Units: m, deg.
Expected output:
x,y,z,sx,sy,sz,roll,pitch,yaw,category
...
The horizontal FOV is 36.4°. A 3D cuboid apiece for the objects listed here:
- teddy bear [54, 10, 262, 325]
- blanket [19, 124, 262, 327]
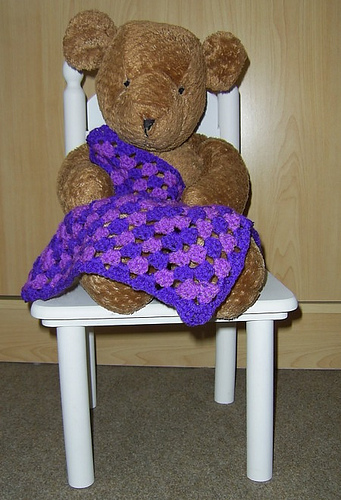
x,y,z,sx,sy,sz,roll,pitch,yaw,category
-0.025,-0.128,0.718,0.301,0.428,0.301,0,14,7,teddy bear
-0.025,-0.007,0.665,0.325,0.083,0.291,-9,60,1,blanket
